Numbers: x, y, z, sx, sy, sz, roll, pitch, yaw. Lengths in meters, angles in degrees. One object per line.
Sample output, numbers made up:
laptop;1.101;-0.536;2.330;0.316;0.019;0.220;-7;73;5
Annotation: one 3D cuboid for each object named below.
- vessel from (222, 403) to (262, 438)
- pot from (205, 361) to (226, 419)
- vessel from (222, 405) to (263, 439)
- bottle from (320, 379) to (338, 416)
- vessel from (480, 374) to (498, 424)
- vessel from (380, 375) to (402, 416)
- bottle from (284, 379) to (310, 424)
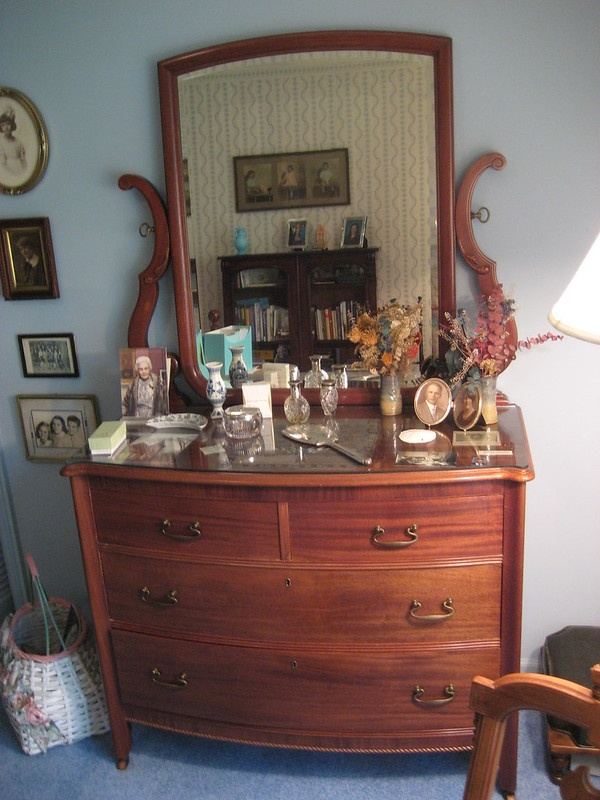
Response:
vessel;-0.173;0.067;2.099;0.115;0.089;0.124;-4;13;-5
pot;-0.280;-0.029;2.308;0.057;0.176;0.085;-5;14;-7
vessel;-0.170;0.070;2.053;0.101;0.069;0.101;6;13;27
bottle;0.094;-0.005;2.211;0.045;0.130;0.132;-2;14;6
vessel;0.562;-0.004;2.068;0.044;0.143;0.124;0;14;14
vessel;0.294;-0.023;2.250;0.069;0.137;0.115;-1;14;7
bottle;-0.013;0.008;2.176;0.070;0.144;0.108;-3;14;-1
